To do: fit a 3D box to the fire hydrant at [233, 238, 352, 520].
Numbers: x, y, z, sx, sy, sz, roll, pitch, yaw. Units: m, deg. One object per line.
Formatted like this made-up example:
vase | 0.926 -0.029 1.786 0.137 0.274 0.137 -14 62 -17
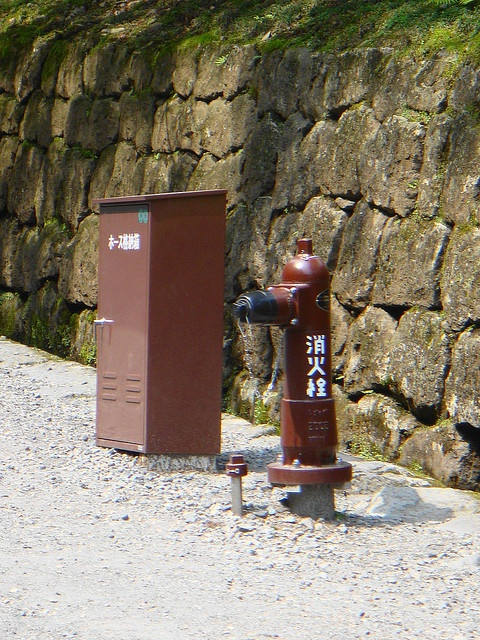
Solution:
fire hydrant | 0.305 0.315 9.012 0.591 0.995 0.319 1 1 5
